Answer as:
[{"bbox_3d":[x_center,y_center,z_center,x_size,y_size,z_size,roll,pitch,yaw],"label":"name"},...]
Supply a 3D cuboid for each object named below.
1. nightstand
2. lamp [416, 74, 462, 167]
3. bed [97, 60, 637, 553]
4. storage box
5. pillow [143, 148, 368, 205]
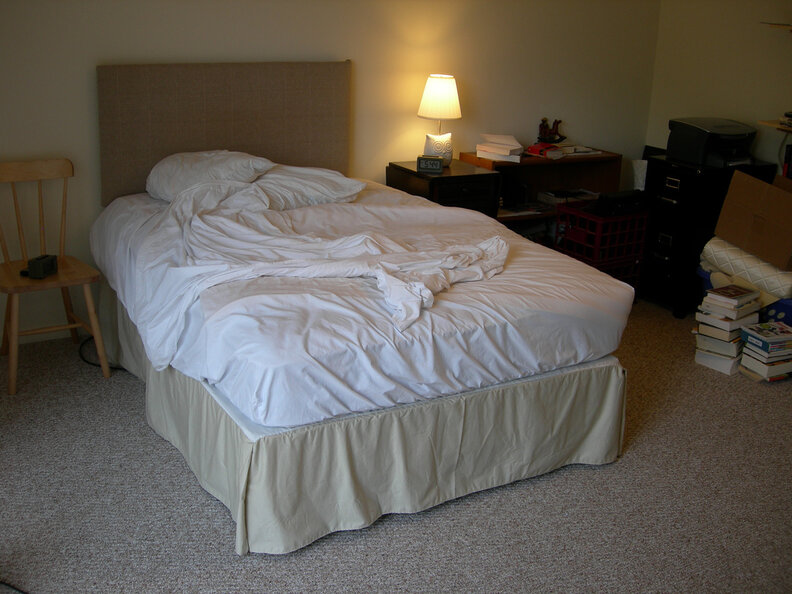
[{"bbox_3d":[0.340,-0.804,4.084,0.510,0.429,0.554,5,15,-6],"label":"nightstand"},{"bbox_3d":[0.297,-1.191,4.191,0.279,0.591,0.287,10,24,21],"label":"lamp"},{"bbox_3d":[-0.328,-0.268,3.014,1.818,1.663,2.602,-12,25,-35],"label":"bed"},{"bbox_3d":[1.973,-0.558,4.124,0.573,1.212,0.541,-12,24,-35],"label":"storage box"},{"bbox_3d":[-0.771,-0.661,3.409,0.654,0.171,0.592,-6,19,-33],"label":"pillow"}]
